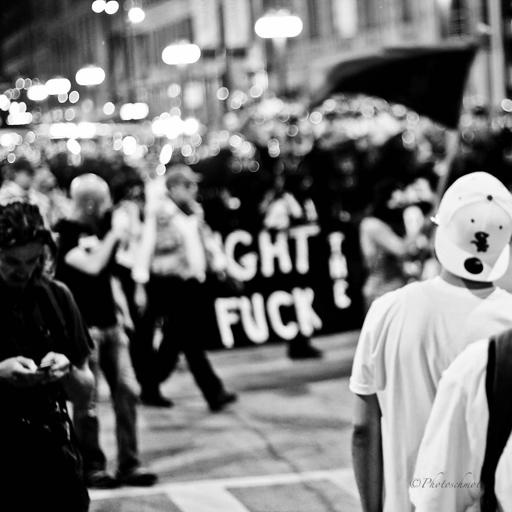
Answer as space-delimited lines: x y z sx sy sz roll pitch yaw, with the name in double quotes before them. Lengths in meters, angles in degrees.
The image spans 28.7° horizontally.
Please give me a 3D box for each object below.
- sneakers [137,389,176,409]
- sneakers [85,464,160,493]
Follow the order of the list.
"sneakers" -0.540 0.776 5.487 0.174 0.110 0.036 -6 5 -11
"sneakers" -0.671 1.133 5.171 0.376 0.165 0.128 7 -6 -2
